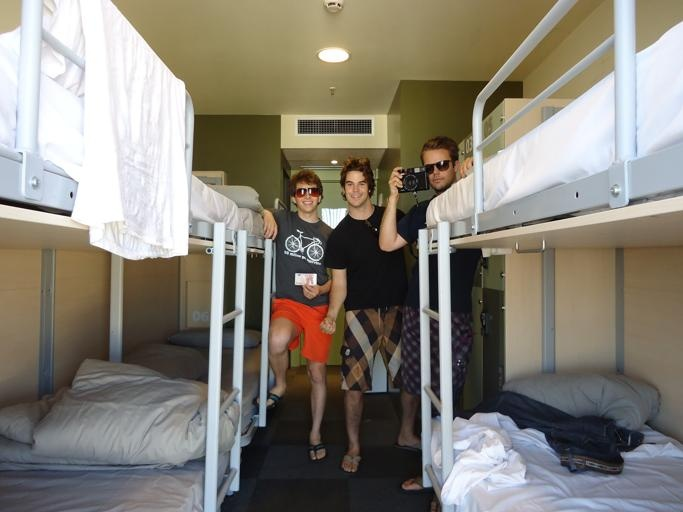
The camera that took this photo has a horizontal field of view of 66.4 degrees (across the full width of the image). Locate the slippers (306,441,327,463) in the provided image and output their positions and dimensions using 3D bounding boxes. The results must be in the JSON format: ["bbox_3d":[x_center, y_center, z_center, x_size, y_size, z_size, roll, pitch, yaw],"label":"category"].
[{"bbox_3d":[-0.153,1.213,3.291,0.119,0.074,0.220,-1,4,-3],"label":"slippers"}]

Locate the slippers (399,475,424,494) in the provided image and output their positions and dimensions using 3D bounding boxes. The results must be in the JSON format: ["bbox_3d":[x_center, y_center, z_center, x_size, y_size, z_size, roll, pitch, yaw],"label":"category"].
[{"bbox_3d":[0.393,1.261,2.914,0.160,0.118,0.060,1,1,13],"label":"slippers"}]

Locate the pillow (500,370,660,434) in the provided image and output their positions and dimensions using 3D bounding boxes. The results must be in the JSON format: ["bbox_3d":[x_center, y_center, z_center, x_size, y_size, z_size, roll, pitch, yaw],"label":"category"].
[{"bbox_3d":[1.353,0.758,2.818,0.451,0.154,0.419,-4,3,8],"label":"pillow"}]

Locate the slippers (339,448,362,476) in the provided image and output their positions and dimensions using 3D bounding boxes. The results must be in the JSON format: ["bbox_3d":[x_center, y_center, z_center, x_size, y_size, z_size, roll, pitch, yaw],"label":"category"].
[{"bbox_3d":[0.055,1.222,3.154,0.126,0.085,0.231,0,4,4],"label":"slippers"}]
